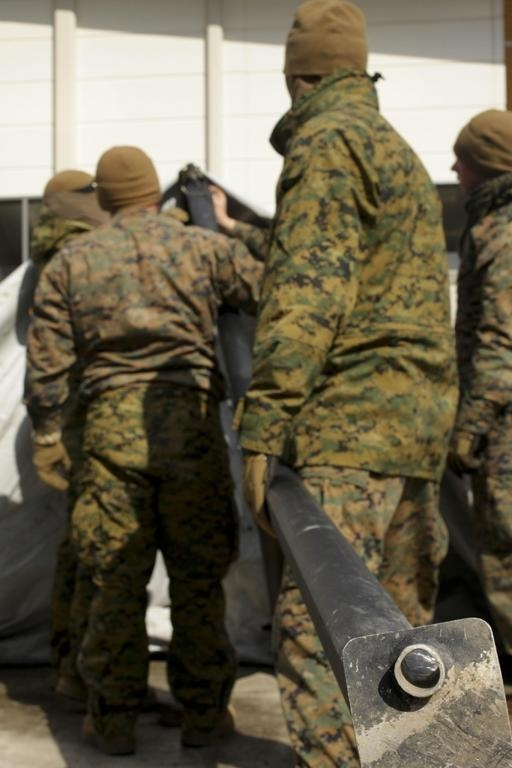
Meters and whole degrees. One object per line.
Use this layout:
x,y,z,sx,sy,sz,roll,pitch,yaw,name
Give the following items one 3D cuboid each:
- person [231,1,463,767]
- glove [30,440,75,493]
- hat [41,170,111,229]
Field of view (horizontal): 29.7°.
0.153,-0.207,1.981,0.337,1.419,0.606,-3,-8,38,person
-0.739,0.301,3.514,0.206,0.170,0.053,-2,-8,-5,glove
-0.745,-0.751,3.881,0.316,0.107,0.308,-12,50,-8,hat
